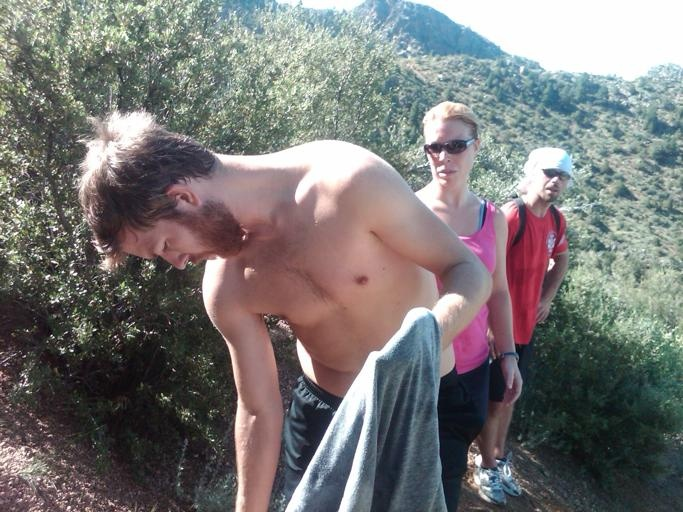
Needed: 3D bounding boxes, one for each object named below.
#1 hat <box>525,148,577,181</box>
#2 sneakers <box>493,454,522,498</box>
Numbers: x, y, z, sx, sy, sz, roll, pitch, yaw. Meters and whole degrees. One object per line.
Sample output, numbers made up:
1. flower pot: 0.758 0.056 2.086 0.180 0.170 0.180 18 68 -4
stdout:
1. hat: 1.994 -0.923 5.853 0.314 0.214 0.349 4 16 19
2. sneakers: 1.608 2.146 5.949 0.130 0.322 0.404 -11 14 -22
